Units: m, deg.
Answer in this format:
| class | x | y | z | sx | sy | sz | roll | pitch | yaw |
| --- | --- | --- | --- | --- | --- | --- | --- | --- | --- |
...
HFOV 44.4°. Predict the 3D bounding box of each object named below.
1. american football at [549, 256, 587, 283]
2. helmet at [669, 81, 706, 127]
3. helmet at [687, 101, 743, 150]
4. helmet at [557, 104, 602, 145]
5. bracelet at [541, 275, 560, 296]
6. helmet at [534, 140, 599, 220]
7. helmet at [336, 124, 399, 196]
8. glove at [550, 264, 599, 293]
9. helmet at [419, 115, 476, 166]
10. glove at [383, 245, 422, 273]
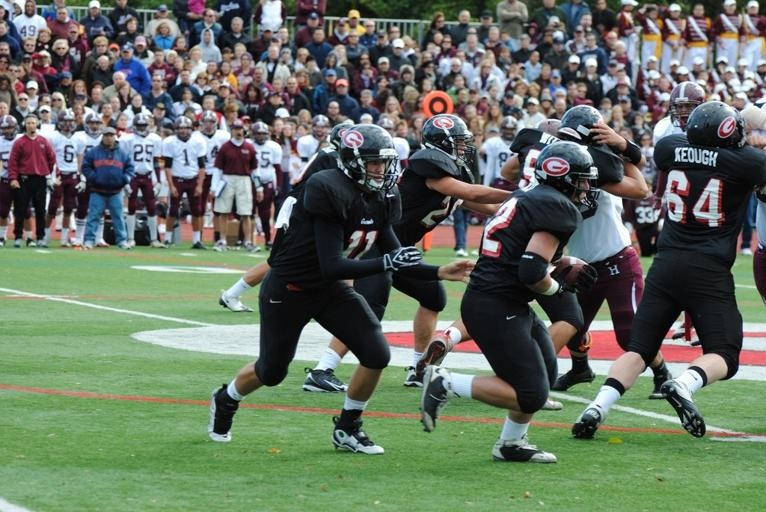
| class | x | y | z | sx | sy | sz | roll | pitch | yaw |
| --- | --- | --- | --- | --- | --- | --- | --- | --- | --- |
| american football | 1.268 | 0.091 | 6.490 | 0.228 | 0.092 | 0.159 | -4 | 44 | -45 |
| helmet | 2.606 | -1.335 | 8.181 | 0.325 | 0.369 | 0.428 | -3 | 13 | 31 |
| helmet | 2.494 | -1.001 | 7.117 | 0.440 | 0.298 | 0.321 | -19 | -33 | 4 |
| helmet | 1.614 | -1.076 | 7.694 | 0.348 | 0.330 | 0.331 | 2 | 2 | 8 |
| bracelet | 1.133 | 0.207 | 6.350 | 0.110 | 0.116 | 0.127 | 10 | -38 | -29 |
| helmet | 1.277 | -0.559 | 6.426 | 0.574 | 0.477 | 0.417 | -1 | 16 | -7 |
| helmet | -0.091 | -0.665 | 6.419 | 0.407 | 0.484 | 0.297 | 1 | 2 | -1 |
| glove | 1.324 | 0.151 | 6.499 | 0.253 | 0.100 | 0.189 | 8 | -19 | 33 |
| helmet | 0.572 | -0.993 | 7.904 | 0.465 | 0.427 | 0.402 | 1 | 2 | -7 |
| glove | 0.126 | 0.023 | 6.304 | 0.248 | 0.128 | 0.094 | -3 | -10 | -9 |
